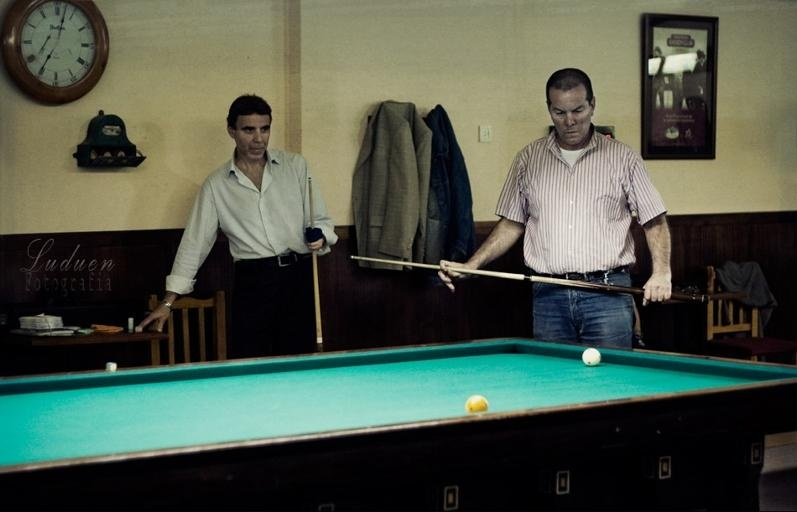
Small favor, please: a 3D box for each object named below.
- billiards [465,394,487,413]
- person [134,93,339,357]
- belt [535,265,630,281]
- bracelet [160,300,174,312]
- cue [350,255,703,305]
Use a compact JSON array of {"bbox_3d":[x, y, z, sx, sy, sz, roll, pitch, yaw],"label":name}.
[{"bbox_3d":[0.277,0.526,2.645,0.058,0.044,0.059,-6,4,11],"label":"billiards"},{"bbox_3d":[-0.884,-0.182,4.259,0.840,1.469,0.349,1,8,-14],"label":"person"},{"bbox_3d":[0.921,0.077,3.724,0.463,0.081,0.175,5,8,9],"label":"belt"},{"bbox_3d":[-1.265,0.275,4.075,0.058,0.038,0.054,7,-38,36],"label":"bracelet"},{"bbox_3d":[0.623,0.146,4.464,2.359,0.108,0.088,6,-21,15],"label":"cue"}]
